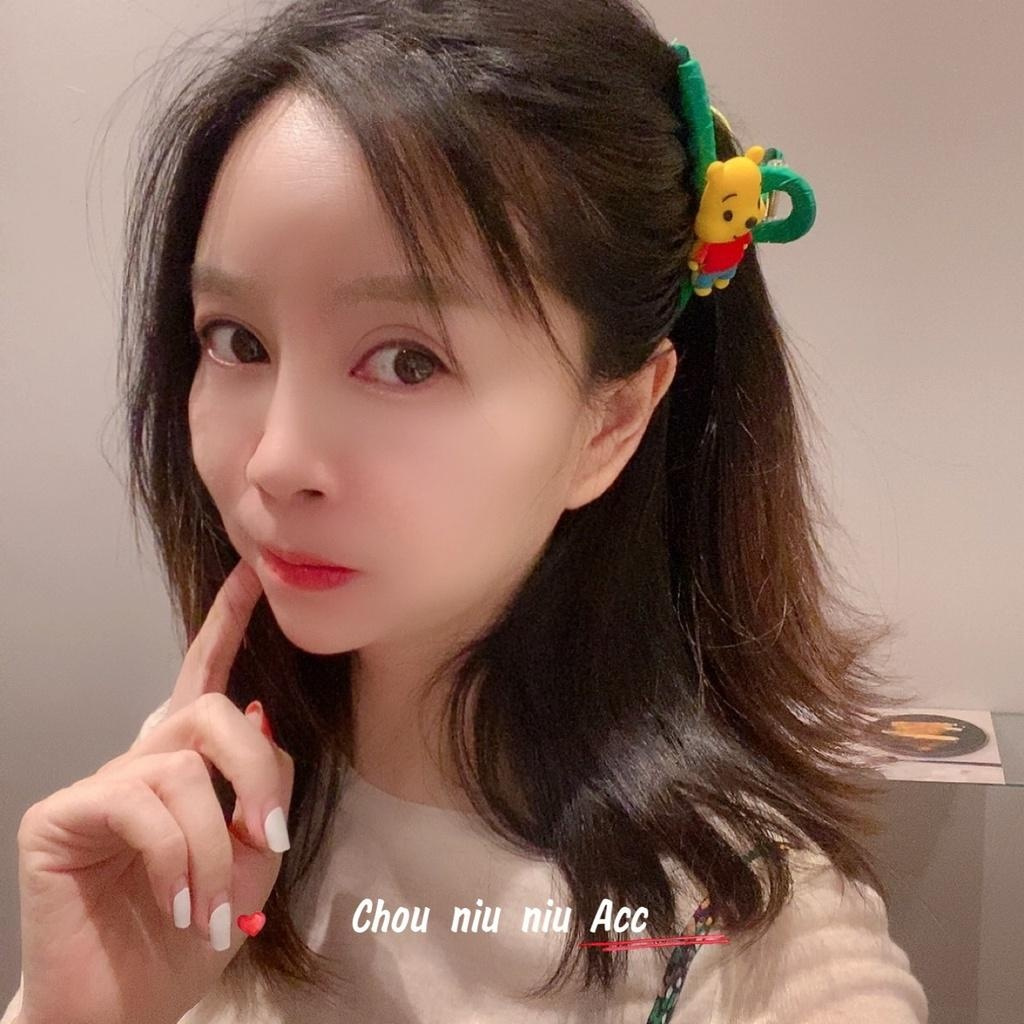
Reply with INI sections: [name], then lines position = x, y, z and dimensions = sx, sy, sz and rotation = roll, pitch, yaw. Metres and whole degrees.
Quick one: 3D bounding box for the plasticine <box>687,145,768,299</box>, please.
[plasticine]
position = 0.141, -0.197, 0.780
dimensions = 0.047, 0.105, 0.062
rotation = 31, 59, 28
